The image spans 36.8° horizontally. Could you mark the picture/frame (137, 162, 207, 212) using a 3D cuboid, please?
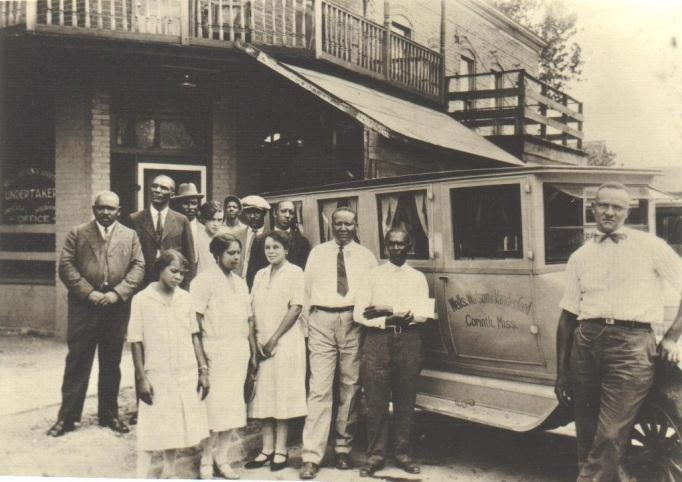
[{"bbox_3d":[-2.948,-0.941,17.825,1.687,1.093,0.048,0,-4,-36],"label":"picture/frame"}]

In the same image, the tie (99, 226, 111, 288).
[{"bbox_3d":[-3.378,0.203,14.619,0.175,0.871,0.093,0,3,-18],"label":"tie"}]

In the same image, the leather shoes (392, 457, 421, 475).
[{"bbox_3d":[0.884,3.060,13.914,0.374,0.139,0.156,1,2,30],"label":"leather shoes"}]

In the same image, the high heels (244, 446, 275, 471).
[{"bbox_3d":[-1.134,3.037,14.199,0.405,0.151,0.188,1,-4,-4],"label":"high heels"}]

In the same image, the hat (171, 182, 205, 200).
[{"bbox_3d":[-2.436,-0.763,15.913,0.343,0.128,0.366,0,-9,-24],"label":"hat"}]

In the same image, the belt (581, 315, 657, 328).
[{"bbox_3d":[3.552,1.052,13.292,0.892,0.134,0.122,1,3,8],"label":"belt"}]

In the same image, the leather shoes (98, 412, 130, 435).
[{"bbox_3d":[-3.268,2.618,14.781,0.398,0.182,0.237,28,-6,-2],"label":"leather shoes"}]

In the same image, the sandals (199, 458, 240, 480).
[{"bbox_3d":[-1.707,3.141,14.013,0.634,0.148,0.213,2,-2,-5],"label":"sandals"}]
